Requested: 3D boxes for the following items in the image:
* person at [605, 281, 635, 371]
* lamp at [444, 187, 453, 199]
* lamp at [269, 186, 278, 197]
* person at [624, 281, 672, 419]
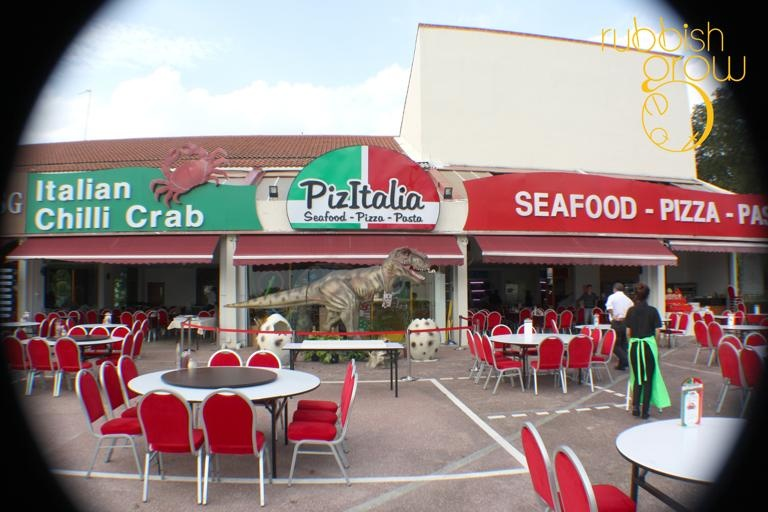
[{"bbox_3d":[6.093,2.016,16.949,0.548,1.850,0.721,-7,-22,31],"label":"person"},{"bbox_3d":[2.153,-2.108,22.026,0.293,0.418,0.346,0,-1,13],"label":"lamp"},{"bbox_3d":[-3.706,-2.163,21.898,0.289,0.314,0.554,-1,18,-5],"label":"lamp"},{"bbox_3d":[5.289,1.885,13.334,0.962,2.717,0.861,1,-6,8],"label":"person"}]
